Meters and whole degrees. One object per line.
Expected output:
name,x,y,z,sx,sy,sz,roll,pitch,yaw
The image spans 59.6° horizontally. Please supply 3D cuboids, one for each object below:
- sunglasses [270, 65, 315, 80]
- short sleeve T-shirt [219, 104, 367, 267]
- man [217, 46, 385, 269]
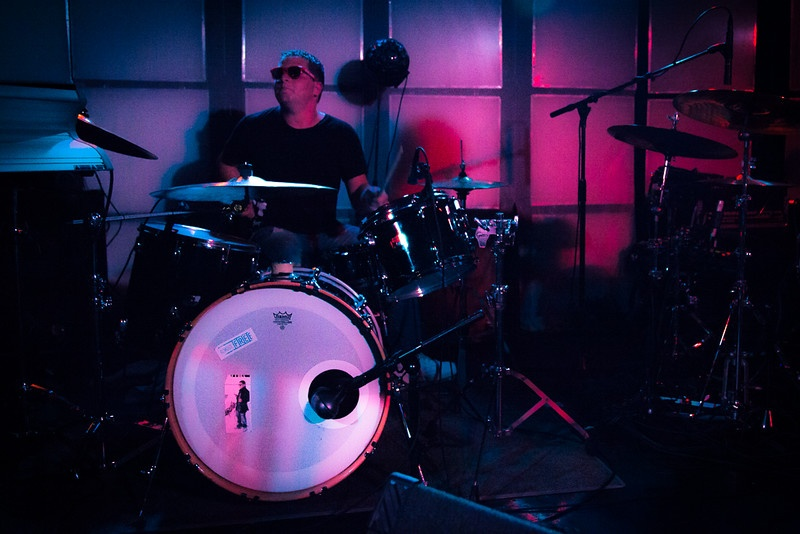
sunglasses,-0.743,-1.353,4.881,0.305,0.097,0.108,-1,7,-10
short sleeve T-shirt,-0.762,-0.553,4.877,1.221,1.208,0.697,2,2,-2
man,-0.778,-0.724,5.052,1.486,1.593,1.092,10,18,26
